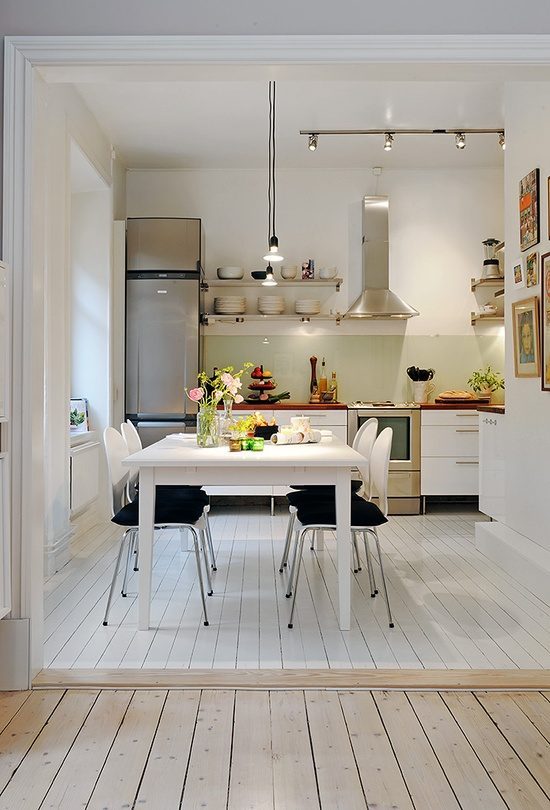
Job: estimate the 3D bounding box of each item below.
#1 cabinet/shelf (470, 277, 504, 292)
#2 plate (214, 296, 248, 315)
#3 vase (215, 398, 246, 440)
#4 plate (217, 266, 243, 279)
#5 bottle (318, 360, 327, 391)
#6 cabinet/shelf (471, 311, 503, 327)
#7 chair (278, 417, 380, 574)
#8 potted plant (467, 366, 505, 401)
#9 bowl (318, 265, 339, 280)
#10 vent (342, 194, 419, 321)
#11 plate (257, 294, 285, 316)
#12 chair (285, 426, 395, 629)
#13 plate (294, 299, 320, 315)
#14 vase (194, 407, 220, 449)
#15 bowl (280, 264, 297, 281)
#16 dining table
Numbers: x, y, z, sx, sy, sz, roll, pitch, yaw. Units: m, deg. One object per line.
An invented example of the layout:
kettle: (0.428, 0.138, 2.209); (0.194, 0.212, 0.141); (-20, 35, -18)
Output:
cabinet/shelf: (1.888, -1.101, 5.319); (0.273, 0.122, 0.302); (0, 0, 20)
plate: (-0.384, -0.855, 5.222); (0.183, 0.129, 0.178); (5, 8, 43)
vase: (-0.267, 0.079, 3.500); (0.170, 0.378, 0.160); (3, 8, 16)
plate: (-0.412, -1.173, 5.251); (0.247, 0.141, 0.200); (0, 0, 6)
bottle: (0.436, -0.274, 5.447); (0.080, 0.295, 0.104); (0, 0, 4)
cabinet/shelf: (1.912, -0.790, 5.367); (0.276, 0.131, 0.226); (0, 0, 14)
chair: (0.368, 0.480, 3.554); (0.695, 1.258, 0.649); (1, -2, 0)
potted plant: (1.919, -0.180, 5.443); (0.335, 0.406, 0.358); (-1, 0, 22)
bowl: (0.481, -1.176, 5.277); (0.142, 0.141, 0.059); (1, -18, -6)
vent: (0.913, -1.345, 5.386); (0.674, 1.126, 0.703); (0, 4, 19)
plate: (-0.045, -0.874, 5.230); (0.158, 0.135, 0.180); (1, 2, 12)
chair: (0.293, 0.564, 3.094); (0.644, 1.259, 0.731); (2, -2, -1)
plate: (0.284, -0.853, 5.207); (0.130, 0.101, 0.150); (-2, 7, -9)
vase: (-0.331, 0.111, 2.968); (0.157, 0.286, 0.156); (0, -4, -2)
bowl: (0.117, -1.188, 5.332); (0.109, 0.110, 0.136); (-1, 2, -18)
dining table: (-0.132, 0.636, 2.633); (0.664, 0.575, 0.956); (0, -2, -1)
